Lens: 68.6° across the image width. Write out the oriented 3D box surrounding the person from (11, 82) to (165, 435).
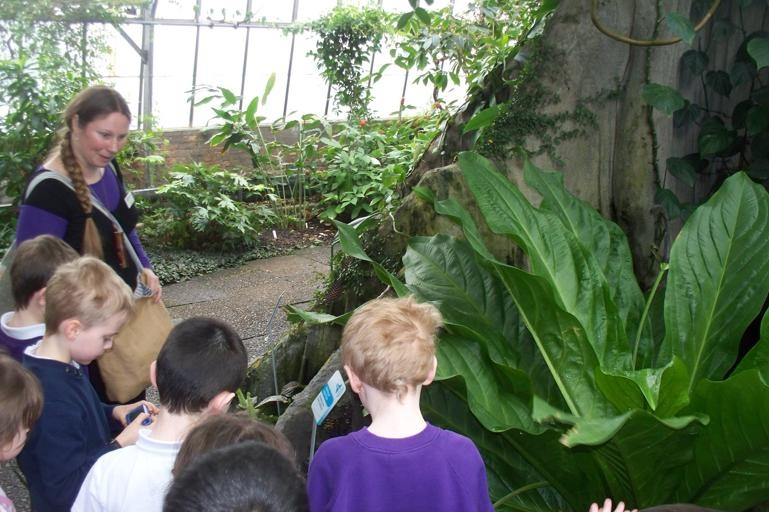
[{"bbox_3d":[-1.516,0.191,2.971,0.500,1.996,0.637,11,24,12],"label":"person"}]
